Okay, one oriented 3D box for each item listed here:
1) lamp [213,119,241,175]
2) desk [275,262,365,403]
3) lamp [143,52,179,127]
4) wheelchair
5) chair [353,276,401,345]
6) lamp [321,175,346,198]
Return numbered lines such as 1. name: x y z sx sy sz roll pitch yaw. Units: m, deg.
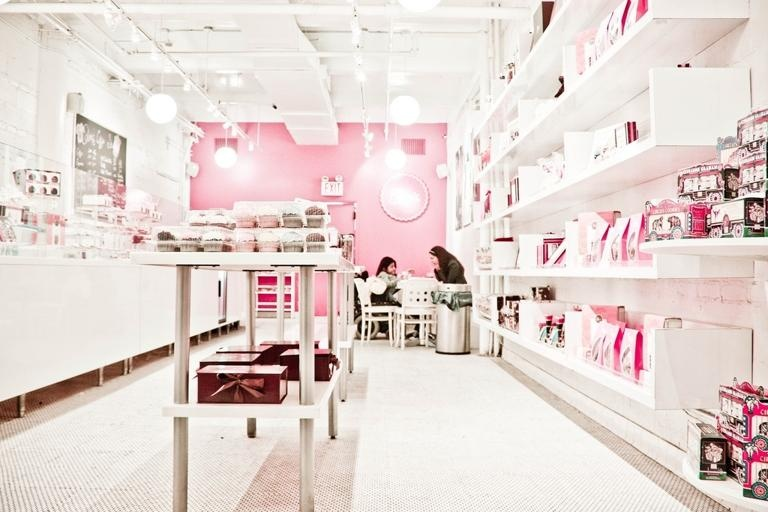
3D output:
1. lamp: -2.907 -2.047 10.188 0.458 1.042 1.715 1 -2 -16
2. desk: -0.480 0.628 4.537 0.419 1.145 1.192 0 1 -2
3. lamp: -3.328 -2.520 8.190 0.479 1.710 0.473 12 -48 -22
4. wheelchair: -0.135 0.778 8.192 0.643 0.893 0.614 -1 -3 3
5. chair: -0.163 0.725 7.767 0.831 1.259 0.837 0 0 5
6. lamp: -0.974 -1.332 10.645 0.451 0.417 0.149 1 1 4
